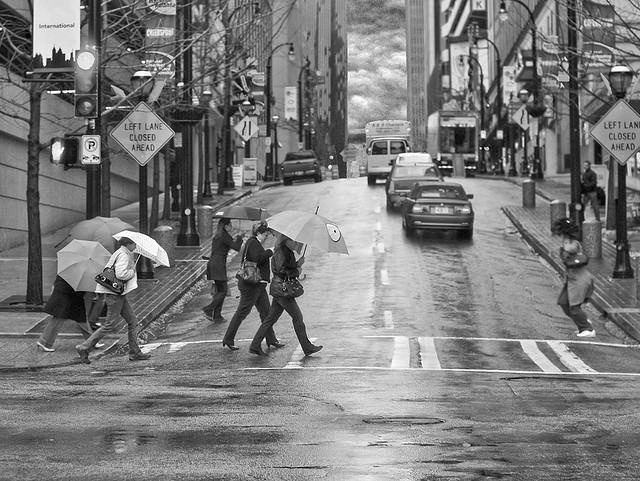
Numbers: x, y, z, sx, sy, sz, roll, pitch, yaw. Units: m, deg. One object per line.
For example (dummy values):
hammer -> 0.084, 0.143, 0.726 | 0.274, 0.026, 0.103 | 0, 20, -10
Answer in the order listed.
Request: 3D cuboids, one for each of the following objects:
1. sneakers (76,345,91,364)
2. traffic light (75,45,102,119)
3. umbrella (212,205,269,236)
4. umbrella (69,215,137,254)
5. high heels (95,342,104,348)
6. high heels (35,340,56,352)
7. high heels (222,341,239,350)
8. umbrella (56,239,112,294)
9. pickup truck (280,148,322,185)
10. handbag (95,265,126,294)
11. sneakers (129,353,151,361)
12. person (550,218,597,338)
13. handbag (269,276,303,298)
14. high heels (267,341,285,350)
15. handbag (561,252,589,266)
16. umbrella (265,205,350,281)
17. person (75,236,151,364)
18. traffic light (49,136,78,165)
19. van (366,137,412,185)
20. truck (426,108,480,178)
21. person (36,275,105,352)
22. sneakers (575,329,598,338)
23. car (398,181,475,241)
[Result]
sneakers -> -3.985, 1.924, 17.633 | 0.180, 0.430, 0.163 | -8, 8, 5
traffic light -> -4.731, -3.196, 21.259 | 0.492, 1.426, 0.340 | -4, 7, -14
umbrella -> -1.959, -0.443, 25.724 | 0.863, 0.544, 0.864 | -12, 13, -41
umbrella -> -4.113, -0.158, 19.575 | 0.765, 0.501, 0.817 | 9, 43, -1
high heels -> -4.049, 1.938, 19.211 | 0.085, 0.115, 0.237 | 0, -13, -39
high heels -> -4.865, 1.899, 18.583 | 0.354, 0.181, 0.136 | 21, 14, -5
high heels -> -1.581, 1.887, 18.669 | 0.323, 0.152, 0.125 | 4, 4, 3
umbrella -> -4.279, 0.511, 18.575 | 0.834, 0.887, 0.530 | 6, -30, -30
pickup truck -> -0.957, -3.891, 56.749 | 1.549, 1.776, 2.538 | 4, 10, 39
handbag -> -3.502, 0.671, 17.590 | 0.361, 0.359, 0.201 | 32, -5, -13
sneakers -> -3.056, 1.963, 17.878 | 0.377, 0.178, 0.146 | -1, 5, -4
person -> 4.895, 0.732, 19.973 | 0.768, 2.288, 0.485 | 0, 8, 15
handbag -> -0.571, 0.798, 17.893 | 0.414, 0.241, 0.430 | 45, 33, 17
high heels -> -0.776, 1.881, 18.839 | 0.286, 0.163, 0.110 | -9, 11, -10
handbag -> 4.933, 0.369, 19.989 | 0.520, 0.204, 0.507 | -3, 4, 5
umbrella -> -0.139, -0.033, 18.044 | 1.042, 1.120, 1.092 | 14, -14, 7
person -> -3.518, 1.006, 17.851 | 1.113, 2.123, 0.715 | -3, 7, -12
traffic light -> -5.114, -1.772, 21.063 | 0.589, 0.621, 0.423 | -5, 8, -25
van -> 3.532, -4.271, 54.377 | 2.439, 2.363, 4.634 | -1, 9, -1
truck -> 8.485, -6.021, 66.051 | 3.069, 3.920, 6.161 | -1, 7, -2
person -> -4.503, 1.069, 18.629 | 1.085, 1.721, 0.706 | -2, 22, -13
sneakers -> 5.160, 1.778, 20.028 | 0.339, 0.160, 0.143 | 2, 2, 5
car -> 3.612, -0.858, 31.526 | 2.061, 1.638, 1.892 | -1, 8, 9
